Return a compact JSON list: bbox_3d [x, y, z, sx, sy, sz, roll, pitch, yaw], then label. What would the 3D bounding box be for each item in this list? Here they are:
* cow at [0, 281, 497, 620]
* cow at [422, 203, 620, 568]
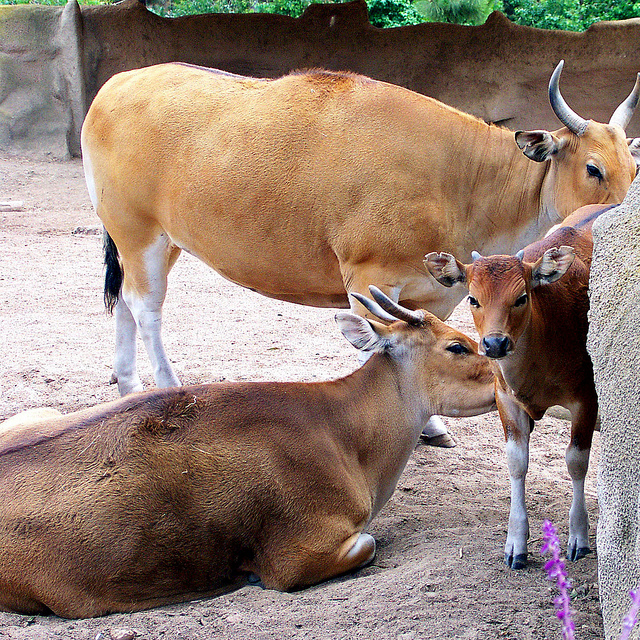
[{"bbox_3d":[-0.389,0.629,5.454,2.267,1.103,0.874,-14,39,-19],"label":"cow"},{"bbox_3d":[1.146,0.379,5.891,0.739,1.509,2.247,-2,1,25],"label":"cow"}]
